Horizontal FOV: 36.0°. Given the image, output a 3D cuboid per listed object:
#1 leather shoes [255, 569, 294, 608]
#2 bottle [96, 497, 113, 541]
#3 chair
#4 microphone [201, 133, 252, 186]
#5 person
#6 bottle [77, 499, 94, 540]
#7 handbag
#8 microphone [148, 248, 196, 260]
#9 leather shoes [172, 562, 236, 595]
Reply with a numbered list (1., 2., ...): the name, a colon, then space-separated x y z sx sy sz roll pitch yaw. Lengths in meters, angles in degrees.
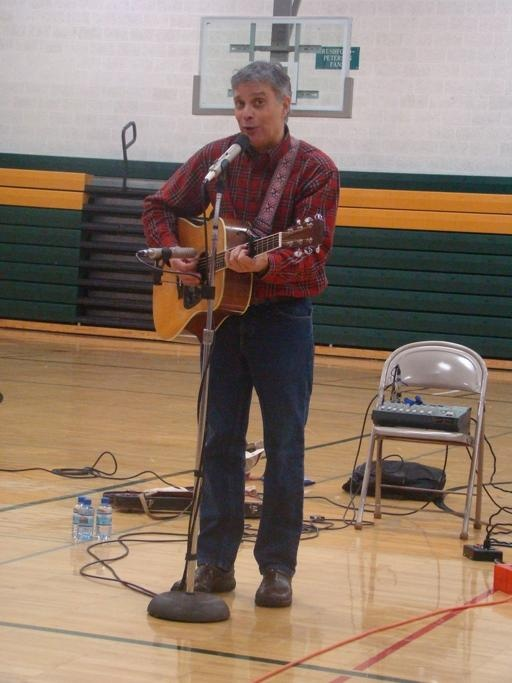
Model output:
1. leather shoes: 0.043 0.684 2.191 0.076 0.049 0.133 2 5 7
2. bottle: -0.550 0.627 2.852 0.060 0.147 0.194 4 3 -10
3. chair: 0.699 0.364 3.242 0.533 0.694 0.439 1 3 20
4. microphone: -0.075 -0.464 1.983 0.101 0.153 0.152 4 3 -1
5. person: 0.037 0.001 2.114 0.309 1.476 0.318 4 4 -4
6. bottle: -0.608 0.629 2.800 0.062 0.140 0.121 3 3 -11
7. handbag: 0.673 0.657 3.732 0.340 0.079 0.269 0 2 20
8. microphone: -0.222 -0.238 2.104 0.125 0.035 0.174 3 2 -2
9. leather shoes: -0.118 0.677 2.267 0.220 0.076 0.078 7 -7 -39
